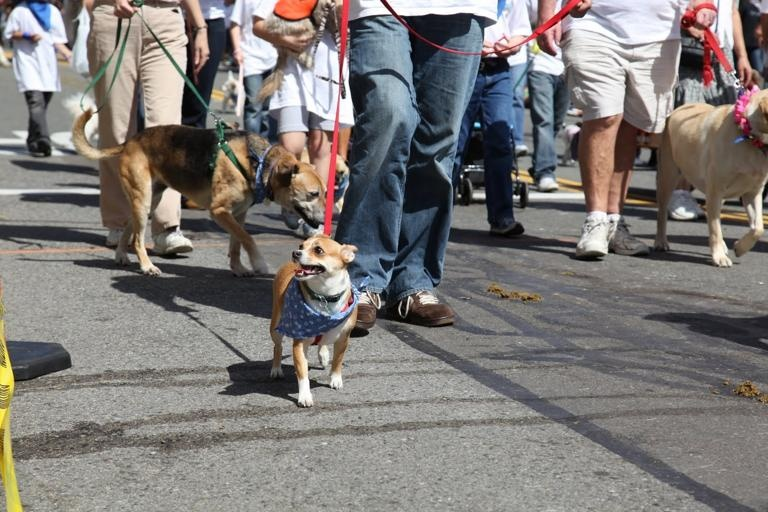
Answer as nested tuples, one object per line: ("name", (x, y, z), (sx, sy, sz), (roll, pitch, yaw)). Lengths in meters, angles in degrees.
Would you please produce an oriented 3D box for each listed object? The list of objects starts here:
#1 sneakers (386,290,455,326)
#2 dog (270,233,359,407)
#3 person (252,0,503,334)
("sneakers", (0.246, 0.346, 7.172), (0.218, 0.137, 0.436), (-4, 3, -45))
("dog", (-0.412, 0.336, 6.221), (0.491, 0.922, 0.615), (4, 13, -4))
("person", (0.174, -0.583, 6.978), (0.887, 2.122, 0.668), (0, 14, -19))
